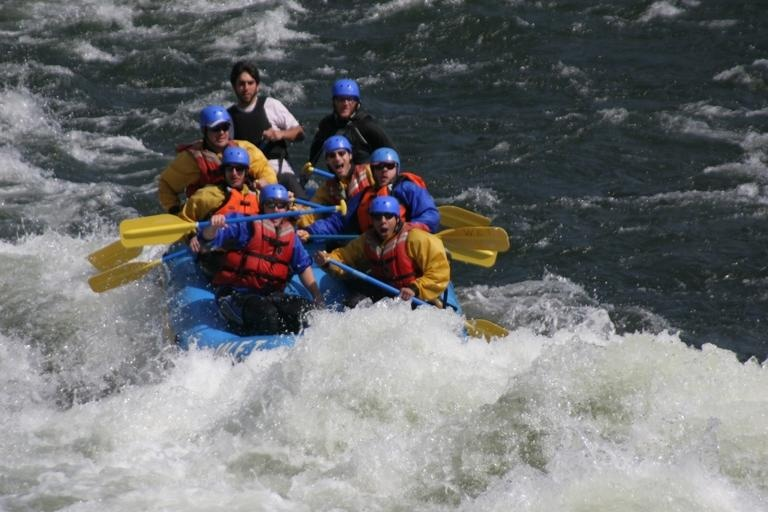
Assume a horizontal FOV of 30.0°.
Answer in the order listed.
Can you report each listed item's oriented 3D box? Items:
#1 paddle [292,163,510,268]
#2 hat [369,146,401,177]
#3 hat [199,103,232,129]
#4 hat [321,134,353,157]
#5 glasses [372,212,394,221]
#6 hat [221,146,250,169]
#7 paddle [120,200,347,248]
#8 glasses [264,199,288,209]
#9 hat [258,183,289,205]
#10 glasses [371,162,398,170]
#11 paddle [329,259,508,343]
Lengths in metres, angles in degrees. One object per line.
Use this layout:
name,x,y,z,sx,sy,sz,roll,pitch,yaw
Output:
paddle,0.841,-0.372,21.759,4.298,0.711,1.035,16,75,-2
hat,0.021,-1.413,21.193,0.370,0.301,0.410,-1,18,-9
hat,-2.509,-2.030,20.944,0.332,0.216,0.433,-19,21,-39
hat,-0.674,-1.639,21.325,0.339,0.310,0.208,-7,73,0
glasses,0.014,-0.548,20.489,0.332,0.121,0.082,-6,34,1
hat,-2.119,-1.408,20.635,0.370,0.304,0.305,-5,33,3
paddle,-2.496,-0.381,20.842,2.611,0.665,0.471,-3,34,4
glasses,-1.530,-0.722,20.598,0.372,0.175,0.125,-8,33,-3
hat,-1.553,-0.875,20.606,0.283,0.327,0.267,2,3,-10
glasses,0.021,-1.322,21.041,0.359,0.128,0.116,-2,33,7
paddle,0.551,0.720,20.665,2.450,1.112,0.458,6,37,19
